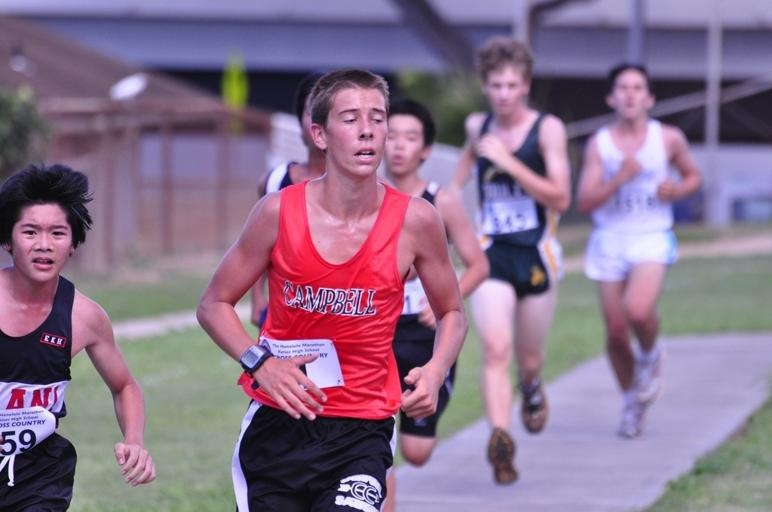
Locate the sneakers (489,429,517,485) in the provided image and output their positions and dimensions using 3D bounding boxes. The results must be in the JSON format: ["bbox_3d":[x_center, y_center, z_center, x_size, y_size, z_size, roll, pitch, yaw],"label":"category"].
[{"bbox_3d":[0.657,1.128,6.089,0.146,0.272,0.094,-10,-23,-4],"label":"sneakers"}]

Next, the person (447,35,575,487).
[{"bbox_3d":[0.781,-0.006,6.305,0.599,2.482,0.861,0,7,5],"label":"person"}]

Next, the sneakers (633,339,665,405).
[{"bbox_3d":[1.450,0.647,5.980,0.160,0.308,0.111,12,-12,-6],"label":"sneakers"}]

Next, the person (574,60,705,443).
[{"bbox_3d":[1.398,-0.025,5.950,0.643,2.009,0.335,1,7,13],"label":"person"}]
